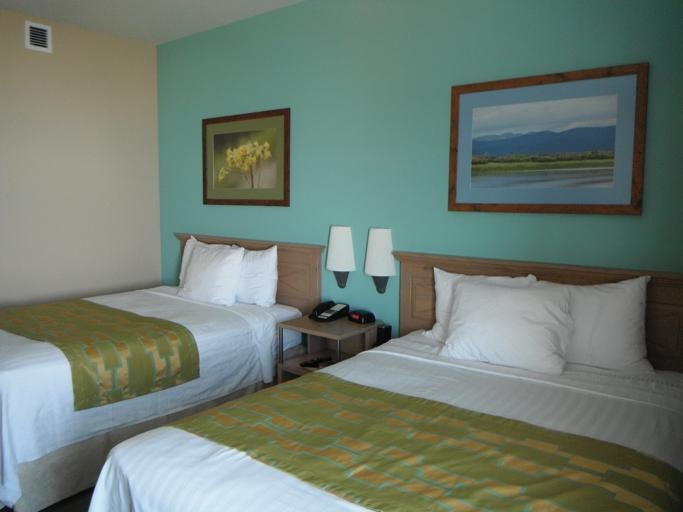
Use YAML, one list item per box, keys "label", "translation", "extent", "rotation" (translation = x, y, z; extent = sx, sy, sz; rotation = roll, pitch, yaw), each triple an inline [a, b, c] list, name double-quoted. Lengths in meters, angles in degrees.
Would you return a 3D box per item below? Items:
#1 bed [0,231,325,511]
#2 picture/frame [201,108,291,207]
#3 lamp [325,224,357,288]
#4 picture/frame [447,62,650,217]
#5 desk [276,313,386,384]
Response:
- label: "bed"
  translation: [-1.173, 0.715, 3.809]
  extent: [1.644, 1.068, 1.654]
  rotation: [7, 11, 42]
- label: "picture/frame"
  translation: [-0.947, -0.933, 4.433]
  extent: [1.206, 0.896, 0.158]
  rotation: [8, 17, 34]
- label: "lamp"
  translation: [-0.005, 0.013, 3.853]
  extent: [0.271, 0.509, 0.273]
  rotation: [-2, 4, -26]
- label: "picture/frame"
  translation: [1.378, -0.753, 2.931]
  extent: [1.091, 0.787, 0.045]
  rotation: [3, 5, 34]
- label: "desk"
  translation: [-0.082, 0.809, 3.596]
  extent: [0.595, 0.541, 0.631]
  rotation: [-5, 5, -43]
